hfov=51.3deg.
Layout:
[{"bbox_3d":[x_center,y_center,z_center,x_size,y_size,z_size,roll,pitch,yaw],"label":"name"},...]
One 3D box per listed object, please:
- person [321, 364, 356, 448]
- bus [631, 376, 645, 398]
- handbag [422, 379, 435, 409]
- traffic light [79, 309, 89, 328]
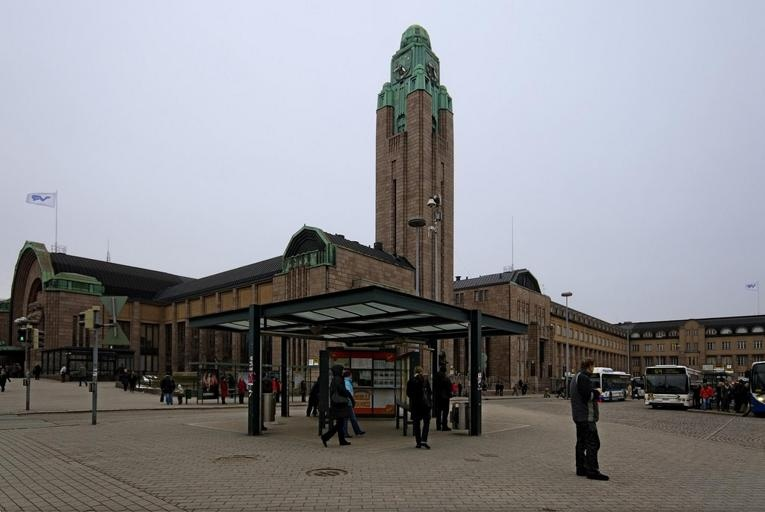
[{"bbox_3d":[-1.613,5.066,27.040,1.231,2.726,0.804,5,-14,-35],"label":"person"},{"bbox_3d":[25.522,13.274,79.762,1.055,2.010,4.822,-5,-13,14],"label":"bus"},{"bbox_3d":[1.537,4.748,27.279,0.186,1.023,0.806,-4,-12,13],"label":"handbag"},{"bbox_3d":[-12.393,2.647,33.231,0.280,0.780,1.262,5,-14,-28],"label":"traffic light"}]
